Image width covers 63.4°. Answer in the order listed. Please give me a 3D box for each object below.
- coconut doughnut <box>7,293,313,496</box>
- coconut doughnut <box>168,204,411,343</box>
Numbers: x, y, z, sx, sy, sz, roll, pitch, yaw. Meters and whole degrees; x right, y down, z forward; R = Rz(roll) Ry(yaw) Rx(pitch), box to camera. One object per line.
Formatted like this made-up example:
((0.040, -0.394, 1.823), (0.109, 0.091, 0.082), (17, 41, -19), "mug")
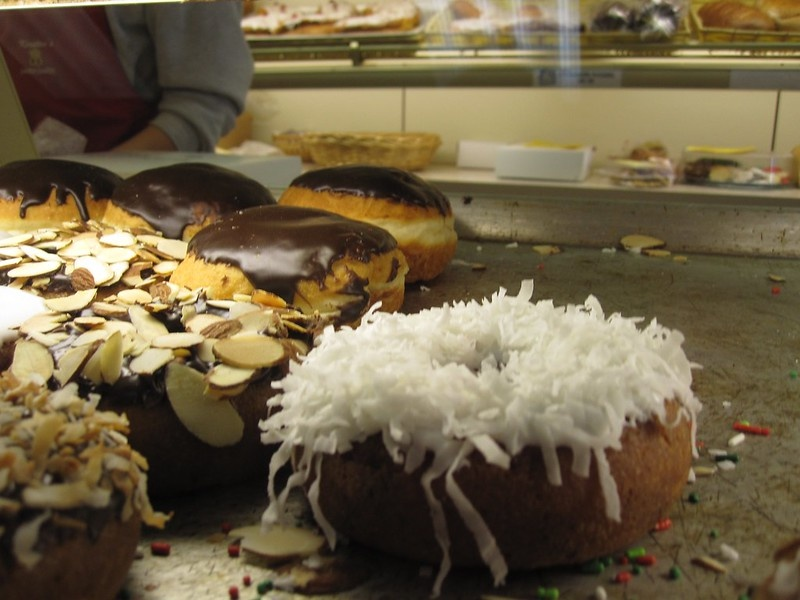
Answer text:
((-0.264, 0.052, 0.778), (0.298, 0.097, 0.263), (12, 11, 37), "coconut doughnut")
((-0.133, -0.037, 0.970), (0.248, 0.120, 0.193), (2, 8, -13), "coconut doughnut")
